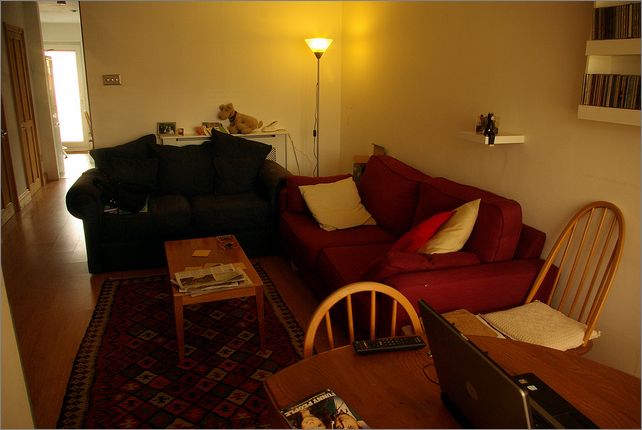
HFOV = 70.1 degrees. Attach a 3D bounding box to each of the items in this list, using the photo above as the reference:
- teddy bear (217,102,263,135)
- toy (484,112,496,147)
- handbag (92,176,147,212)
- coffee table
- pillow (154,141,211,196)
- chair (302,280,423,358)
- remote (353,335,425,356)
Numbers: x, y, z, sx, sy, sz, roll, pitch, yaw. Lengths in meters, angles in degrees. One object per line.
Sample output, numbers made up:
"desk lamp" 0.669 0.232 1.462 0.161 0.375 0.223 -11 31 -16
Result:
"teddy bear" -1.041 -1.223 5.883 0.639 0.366 0.435 -2 13 -31
"toy" 1.287 -0.663 3.471 0.087 0.216 0.183 7 24 18
"handbag" -1.991 -0.193 4.517 0.457 0.164 0.358 20 6 -5
"coffee table" -0.949 0.635 3.854 0.690 0.564 1.245 -6 18 -23
"pillow" -1.535 -0.524 5.175 0.632 0.541 0.318 -6 22 -37
"chair" 0.205 0.585 2.519 0.518 0.588 0.450 -7 29 -10
"remote" 0.323 0.630 2.207 0.366 0.057 0.119 -2 23 -8
